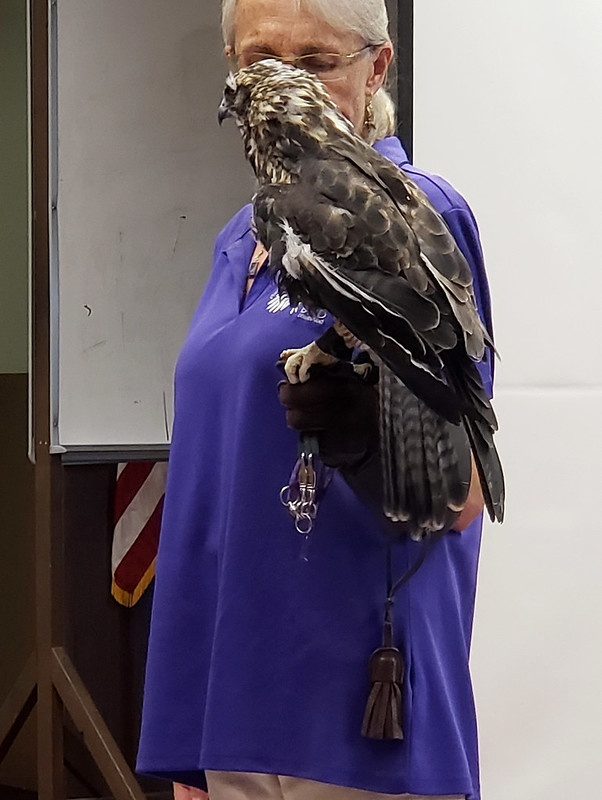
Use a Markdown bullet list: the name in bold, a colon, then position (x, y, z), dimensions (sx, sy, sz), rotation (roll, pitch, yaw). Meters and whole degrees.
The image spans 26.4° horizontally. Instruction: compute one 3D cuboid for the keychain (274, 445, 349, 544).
- **keychain**: position (0.005, 0.121, 1.762), dimensions (0.051, 0.152, 0.046), rotation (7, 23, 8)
